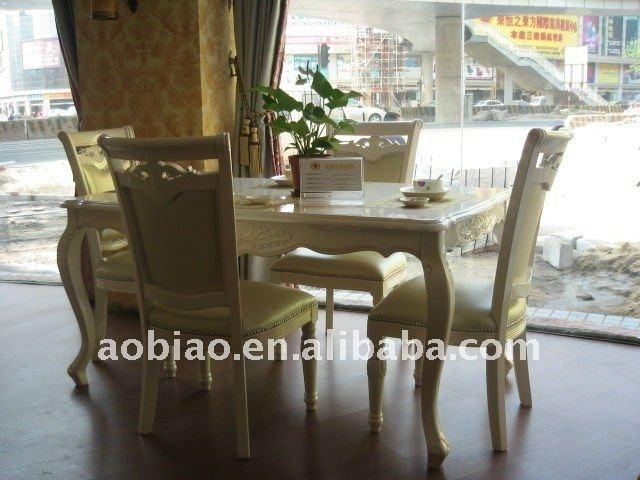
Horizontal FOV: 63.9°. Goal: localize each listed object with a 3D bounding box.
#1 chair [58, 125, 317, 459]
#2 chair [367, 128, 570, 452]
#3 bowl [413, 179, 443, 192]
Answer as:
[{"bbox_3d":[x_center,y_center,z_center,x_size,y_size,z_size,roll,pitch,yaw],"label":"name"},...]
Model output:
[{"bbox_3d":[-0.434,0.180,2.029,0.650,1.226,0.475,6,21,21],"label":"chair"},{"bbox_3d":[0.628,0.173,2.200,0.766,1.176,0.753,3,8,37],"label":"chair"},{"bbox_3d":[0.467,-0.240,2.201,0.082,0.038,0.072,-3,8,-13],"label":"bowl"}]
